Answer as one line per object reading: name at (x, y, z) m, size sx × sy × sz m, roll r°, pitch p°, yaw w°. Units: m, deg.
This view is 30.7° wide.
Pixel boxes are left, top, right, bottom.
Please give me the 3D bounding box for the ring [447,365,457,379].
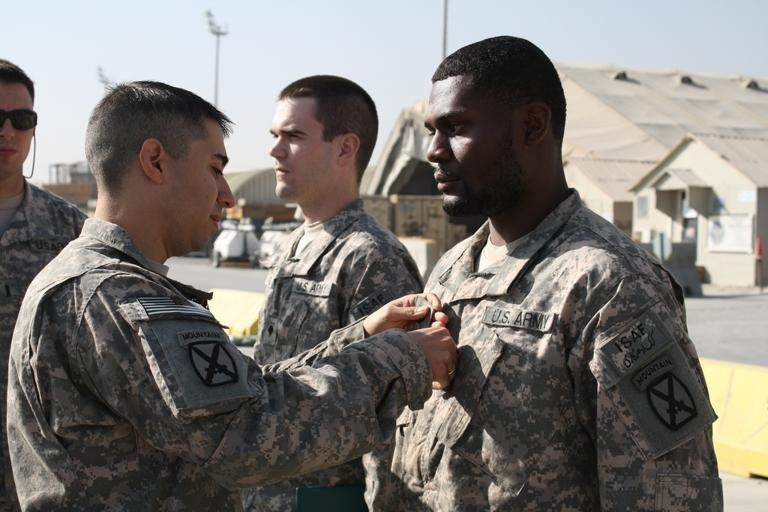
ring at (0.343, 0.581, 7.172) m, size 0.034 × 0.056 × 0.042 m, roll 22°, pitch 14°, yaw -11°
